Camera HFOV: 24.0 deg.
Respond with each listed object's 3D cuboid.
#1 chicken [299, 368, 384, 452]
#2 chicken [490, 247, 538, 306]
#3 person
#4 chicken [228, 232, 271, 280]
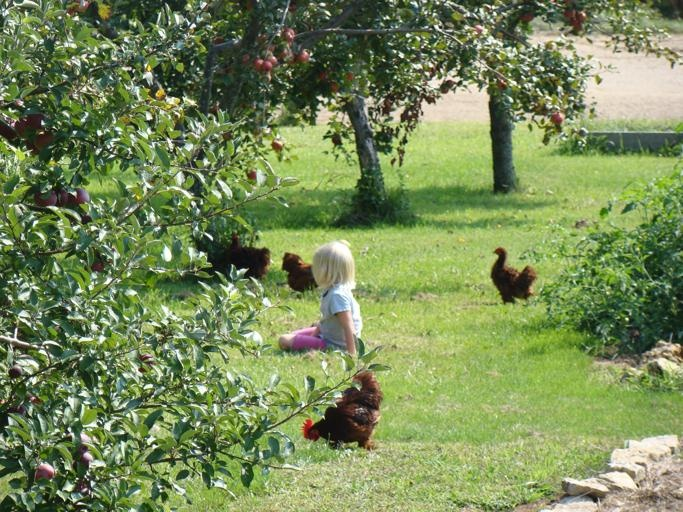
[{"bbox_3d":[0.056,1.493,14.375,0.812,0.669,0.422,-30,21,-3],"label":"chicken"},{"bbox_3d":[1.830,0.218,17.236,0.547,0.667,0.327,3,6,37],"label":"chicken"},{"bbox_3d":[-0.190,0.402,15.786,0.719,1.215,0.684,7,8,18],"label":"person"},{"bbox_3d":[-1.059,-0.013,18.234,0.485,0.634,0.445,4,9,-8],"label":"chicken"}]
